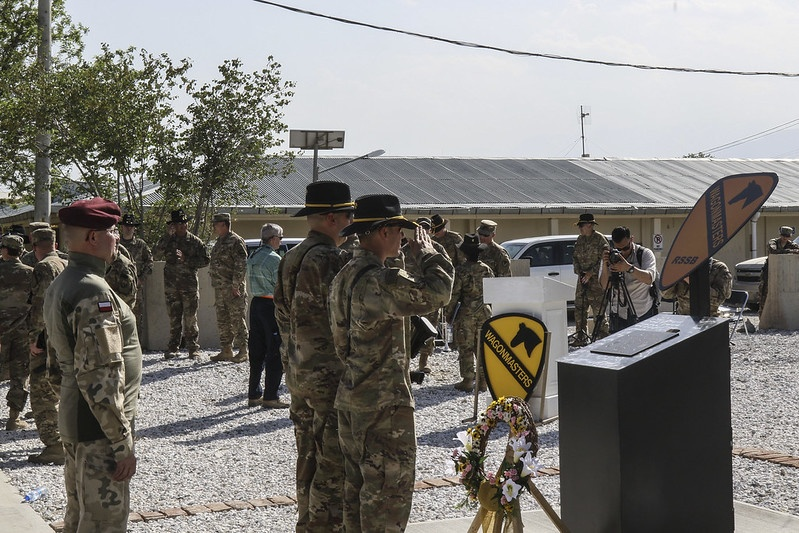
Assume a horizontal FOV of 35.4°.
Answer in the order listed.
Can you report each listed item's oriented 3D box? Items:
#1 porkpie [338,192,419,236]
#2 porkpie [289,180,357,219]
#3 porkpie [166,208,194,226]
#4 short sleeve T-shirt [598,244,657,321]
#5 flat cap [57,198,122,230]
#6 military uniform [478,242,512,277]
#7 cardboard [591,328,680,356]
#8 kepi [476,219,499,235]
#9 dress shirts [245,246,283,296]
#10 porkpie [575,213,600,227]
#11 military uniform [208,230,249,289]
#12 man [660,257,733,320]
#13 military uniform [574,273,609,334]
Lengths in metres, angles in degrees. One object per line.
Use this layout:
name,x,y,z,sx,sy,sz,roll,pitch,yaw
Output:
porkpie,-0.225,-0.530,13.027,0.815,0.375,0.643,-6,3,-27
porkpie,-0.770,-0.724,13.622,0.757,0.296,0.562,-2,8,-3
porkpie,-3.682,-0.752,20.458,0.381,0.156,0.430,-3,-4,-41
short sleeve T-shirt,3.138,0.287,17.045,0.879,1.338,0.797,-3,8,4
flat cap,-3.135,-0.542,12.683,0.445,0.159,0.367,1,8,9
military uniform,1.458,-0.072,19.373,0.630,0.527,0.219,3,-6,-3
cardboard,2.390,0.780,12.689,0.834,0.240,0.405,-2,3,-21
kepi,1.385,-0.587,19.594,0.343,0.116,0.231,3,4,-19
dress shirts,-1.913,0.117,17.945,0.437,0.738,0.900,-7,3,-38
porkpie,3.186,-0.752,21.021,0.260,0.125,0.228,-7,6,-37
military uniform,-2.783,-0.058,20.342,0.554,0.919,1.117,0,2,-40
man,4.864,0.359,20.426,0.972,1.118,0.802,17,35,23
military uniform,3.234,0.665,21.530,0.546,1.341,0.307,-9,37,6
